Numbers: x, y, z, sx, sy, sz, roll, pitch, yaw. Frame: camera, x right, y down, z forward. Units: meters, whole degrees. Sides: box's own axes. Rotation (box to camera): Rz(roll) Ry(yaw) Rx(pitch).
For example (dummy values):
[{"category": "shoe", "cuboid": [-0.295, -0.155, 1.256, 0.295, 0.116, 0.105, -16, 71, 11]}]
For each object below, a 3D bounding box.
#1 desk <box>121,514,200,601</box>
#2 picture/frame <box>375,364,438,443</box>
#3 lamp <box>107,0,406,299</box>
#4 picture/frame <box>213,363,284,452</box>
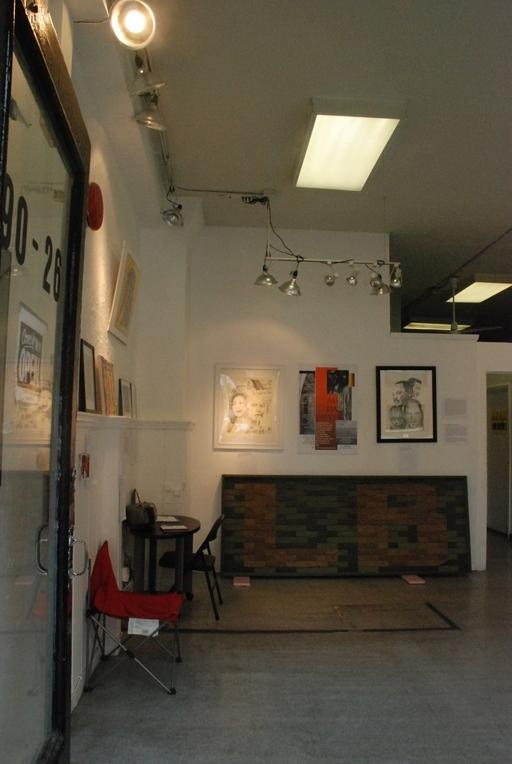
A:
[{"category": "desk", "cuboid": [-0.719, 1.267, 4.531, 0.574, 0.580, 0.754, 0, -6, 1]}, {"category": "picture/frame", "cuboid": [1.559, 0.257, 6.313, 0.737, 1.014, 0.062, 1, -9, -6]}, {"category": "lamp", "cuboid": [0.192, -1.607, 4.243, 1.268, 0.353, 1.816, 2, -16, -2]}, {"category": "picture/frame", "cuboid": [-0.100, 0.293, 6.135, 0.806, 1.068, 0.048, 1, -7, -7]}]
